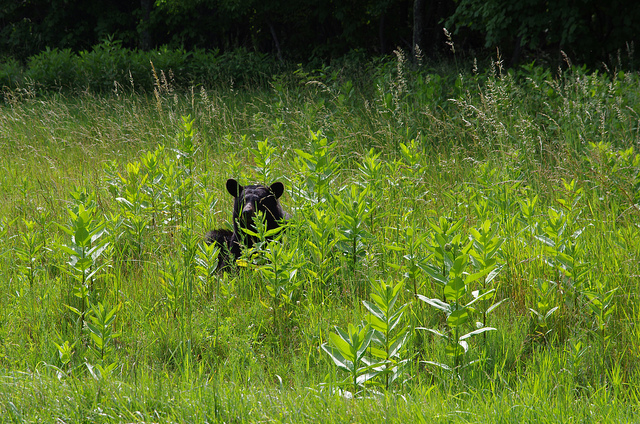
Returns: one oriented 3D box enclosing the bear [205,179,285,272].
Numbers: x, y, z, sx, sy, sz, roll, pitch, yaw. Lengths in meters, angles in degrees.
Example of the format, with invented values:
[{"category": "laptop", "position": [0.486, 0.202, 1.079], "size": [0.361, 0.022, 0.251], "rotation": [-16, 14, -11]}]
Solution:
[{"category": "bear", "position": [-1.036, -0.024, 11.733], "size": [0.999, 0.994, 1.723], "rotation": [1, 12, -10]}]
